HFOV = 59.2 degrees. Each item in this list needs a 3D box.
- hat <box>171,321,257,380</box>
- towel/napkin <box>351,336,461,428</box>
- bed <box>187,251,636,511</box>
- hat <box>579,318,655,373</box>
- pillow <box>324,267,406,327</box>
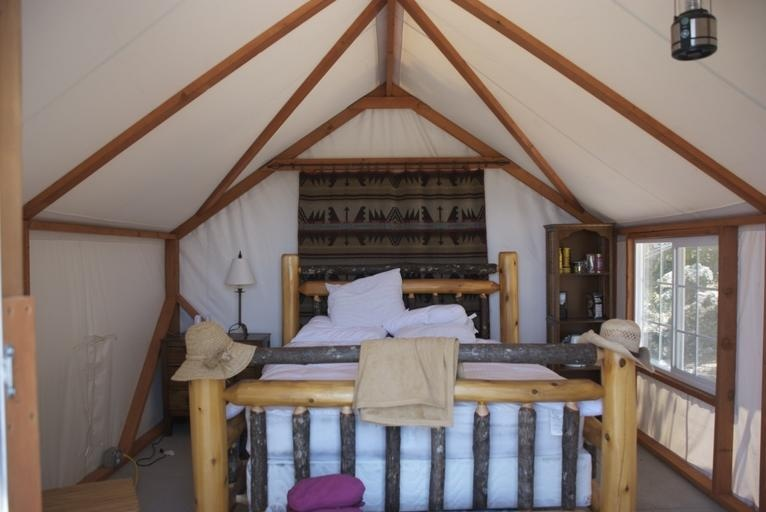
[{"bbox_3d":[-1.020,0.496,4.094,0.338,0.212,0.395,-8,10,-7],"label":"hat"},{"bbox_3d":[0.176,0.741,4.231,0.544,0.560,0.169,1,-5,3],"label":"towel/napkin"},{"bbox_3d":[0.126,0.761,5.053,2.690,1.754,2.255,-2,-4,-1],"label":"bed"},{"bbox_3d":[1.408,0.494,4.070,0.371,0.188,0.308,20,3,11],"label":"hat"},{"bbox_3d":[-0.147,0.375,5.671,0.467,0.502,0.146,-6,-32,6],"label":"pillow"}]
